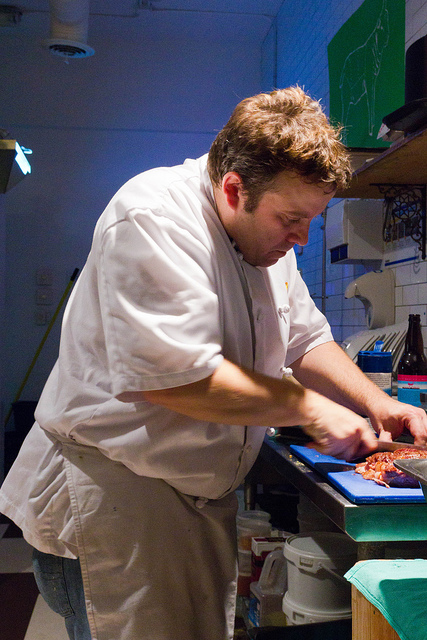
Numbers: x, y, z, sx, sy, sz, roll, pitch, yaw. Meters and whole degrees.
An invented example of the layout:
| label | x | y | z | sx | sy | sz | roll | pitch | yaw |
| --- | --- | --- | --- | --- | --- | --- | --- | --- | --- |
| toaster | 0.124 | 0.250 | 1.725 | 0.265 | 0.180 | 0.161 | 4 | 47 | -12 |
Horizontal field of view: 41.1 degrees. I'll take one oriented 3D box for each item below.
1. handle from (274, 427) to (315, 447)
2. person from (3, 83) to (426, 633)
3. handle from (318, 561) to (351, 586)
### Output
| label | x | y | z | sx | sy | sz | roll | pitch | yaw |
| --- | --- | --- | --- | --- | --- | --- | --- | --- | --- |
| handle | 0.197 | 0.284 | 1.386 | 0.081 | 0.032 | 0.120 | -2 | 3 | -22 |
| person | 0.032 | 0.101 | 1.042 | 0.715 | 0.966 | 0.544 | -3 | 4 | -29 |
| handle | 0.253 | 0.529 | 1.180 | 0.068 | 0.056 | 0.035 | -1 | 3 | -1 |
